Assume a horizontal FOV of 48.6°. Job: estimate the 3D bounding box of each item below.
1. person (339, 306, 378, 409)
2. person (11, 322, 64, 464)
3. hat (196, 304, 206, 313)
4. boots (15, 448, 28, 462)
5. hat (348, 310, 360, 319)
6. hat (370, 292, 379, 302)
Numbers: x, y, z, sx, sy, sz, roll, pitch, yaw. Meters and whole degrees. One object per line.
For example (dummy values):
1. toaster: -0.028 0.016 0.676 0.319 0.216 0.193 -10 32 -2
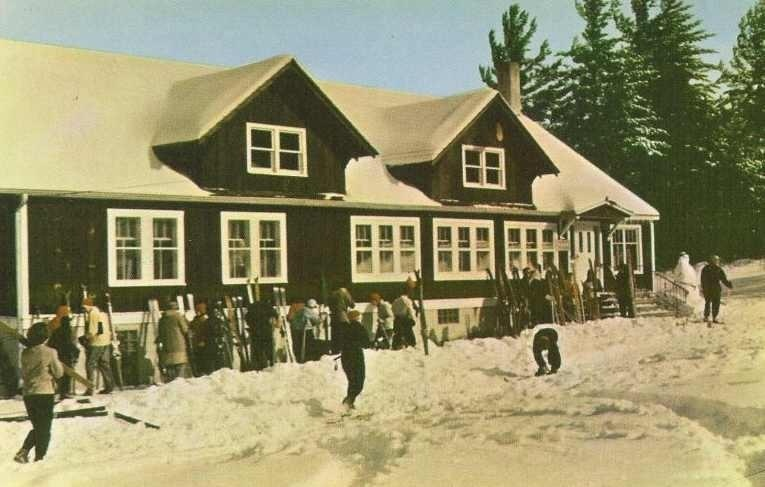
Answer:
1. person: -0.846 3.599 25.589 0.829 3.315 0.744 0 14 -3
2. person: -8.953 4.110 22.112 1.042 3.977 0.949 6 14 18
3. hat: -5.921 2.123 27.658 0.337 0.410 0.407 0 19 -13
4. boots: -9.495 5.571 22.341 0.257 0.305 0.457 5 2 11
5. hat: -0.850 2.144 25.371 0.246 0.273 0.322 1 13 9
6. hat: -0.238 2.027 31.936 0.247 0.305 0.292 2 49 0
